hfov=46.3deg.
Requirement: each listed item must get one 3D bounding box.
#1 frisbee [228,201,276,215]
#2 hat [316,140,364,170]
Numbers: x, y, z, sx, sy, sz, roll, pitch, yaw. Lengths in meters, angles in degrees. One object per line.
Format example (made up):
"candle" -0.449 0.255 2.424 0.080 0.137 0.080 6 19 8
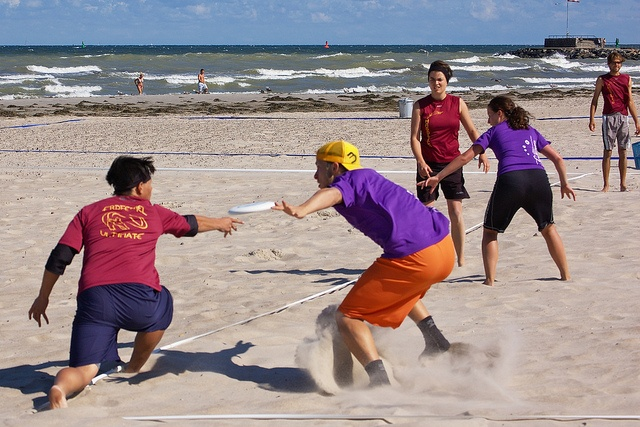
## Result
"frisbee" -0.547 -0.035 5.826 0.344 0.101 0.312 -4 9 -18
"hat" 0.163 -0.472 6.136 0.372 0.158 0.214 14 11 3
